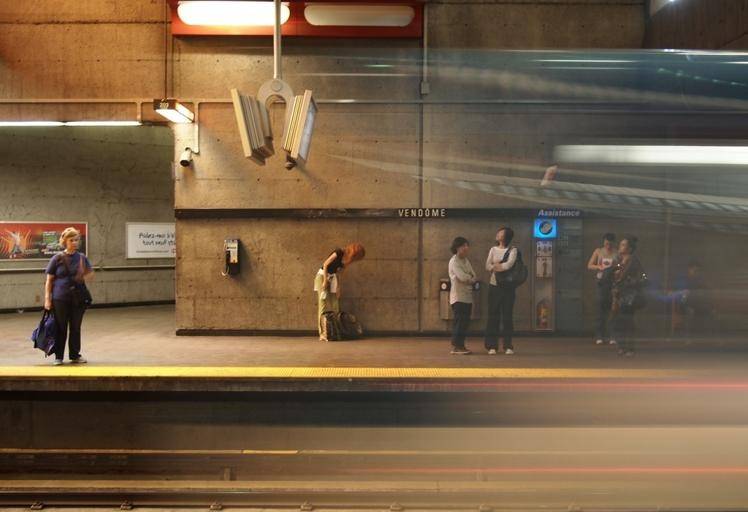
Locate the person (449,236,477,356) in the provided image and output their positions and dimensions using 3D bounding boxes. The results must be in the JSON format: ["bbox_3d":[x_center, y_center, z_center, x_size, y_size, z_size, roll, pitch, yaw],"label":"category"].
[{"bbox_3d":[1.646,0.772,20.610,0.553,2.232,0.638,6,-4,4],"label":"person"}]

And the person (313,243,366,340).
[{"bbox_3d":[-0.818,0.729,21.664,0.862,2.038,0.419,7,-4,-8],"label":"person"}]

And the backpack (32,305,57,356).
[{"bbox_3d":[-6.319,1.484,20.356,0.427,0.720,0.512,7,-4,-17],"label":"backpack"}]

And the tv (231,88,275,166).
[{"bbox_3d":[-2.262,-2.398,19.315,0.901,0.873,0.370,8,-5,-24],"label":"tv"}]

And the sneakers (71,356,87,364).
[{"bbox_3d":[-5.673,1.993,20.335,0.264,0.117,0.125,0,-1,-3],"label":"sneakers"}]

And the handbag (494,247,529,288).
[{"bbox_3d":[2.583,0.218,20.473,0.468,0.890,0.654,12,0,31],"label":"handbag"}]

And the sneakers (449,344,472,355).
[{"bbox_3d":[1.648,1.849,20.716,0.321,0.143,0.154,-1,-2,6],"label":"sneakers"}]

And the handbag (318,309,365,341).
[{"bbox_3d":[-0.724,1.423,21.649,0.733,0.365,0.535,0,-10,-32],"label":"handbag"}]
